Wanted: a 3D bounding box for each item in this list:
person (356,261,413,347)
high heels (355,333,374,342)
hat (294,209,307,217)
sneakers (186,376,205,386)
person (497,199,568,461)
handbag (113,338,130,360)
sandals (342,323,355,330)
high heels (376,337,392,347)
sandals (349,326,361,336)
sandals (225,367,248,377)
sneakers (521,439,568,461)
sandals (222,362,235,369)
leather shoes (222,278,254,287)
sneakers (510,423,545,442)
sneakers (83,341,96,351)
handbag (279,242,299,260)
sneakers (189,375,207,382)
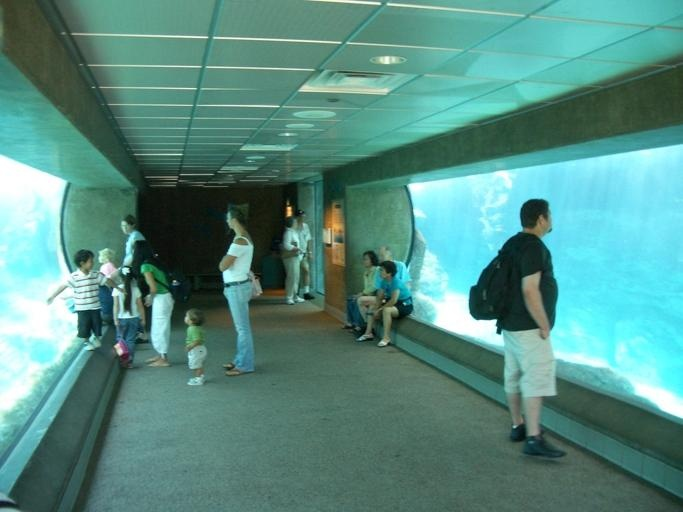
[{"bbox_3d":[0.754,0.728,9.207,0.825,1.405,0.902,0,7,2],"label":"person"},{"bbox_3d":[0.394,1.362,9.344,0.325,0.128,0.112,2,-8,-7],"label":"high heels"},{"bbox_3d":[-1.091,-1.229,14.784,0.342,0.145,0.460,2,8,-2],"label":"hat"},{"bbox_3d":[-1.871,1.576,7.061,0.221,0.103,0.271,-2,7,-16],"label":"sneakers"},{"bbox_3d":[1.730,0.800,4.958,0.362,2.053,0.621,-8,10,-44],"label":"person"},{"bbox_3d":[-3.014,1.280,7.547,0.082,0.267,0.200,-20,54,-31],"label":"handbag"},{"bbox_3d":[0.128,1.314,10.349,0.098,0.114,0.280,2,-8,-18],"label":"sandals"},{"bbox_3d":[0.708,1.396,8.989,0.130,0.128,0.330,-2,-8,13],"label":"high heels"},{"bbox_3d":[0.253,1.354,10.039,0.149,0.155,0.401,2,-4,-11],"label":"sandals"},{"bbox_3d":[-1.409,1.560,7.434,0.317,0.119,0.113,6,-3,-16],"label":"sandals"},{"bbox_3d":[1.794,1.716,4.907,0.417,0.168,0.147,0,5,15],"label":"sneakers"},{"bbox_3d":[-1.602,1.512,7.633,0.234,0.088,0.082,4,-3,-4],"label":"sandals"},{"bbox_3d":[-1.320,0.333,7.085,0.356,0.097,0.139,-3,7,-23],"label":"leather shoes"},{"bbox_3d":[1.770,1.698,5.355,0.428,0.173,0.139,-1,4,-9],"label":"sneakers"},{"bbox_3d":[-3.248,1.150,7.082,0.116,0.086,0.182,-4,7,-29],"label":"sneakers"},{"bbox_3d":[-1.314,-0.184,13.688,0.415,0.339,0.304,-17,13,-7],"label":"handbag"},{"bbox_3d":[-1.834,1.572,7.074,0.239,0.100,0.085,3,-1,-7],"label":"sneakers"}]
